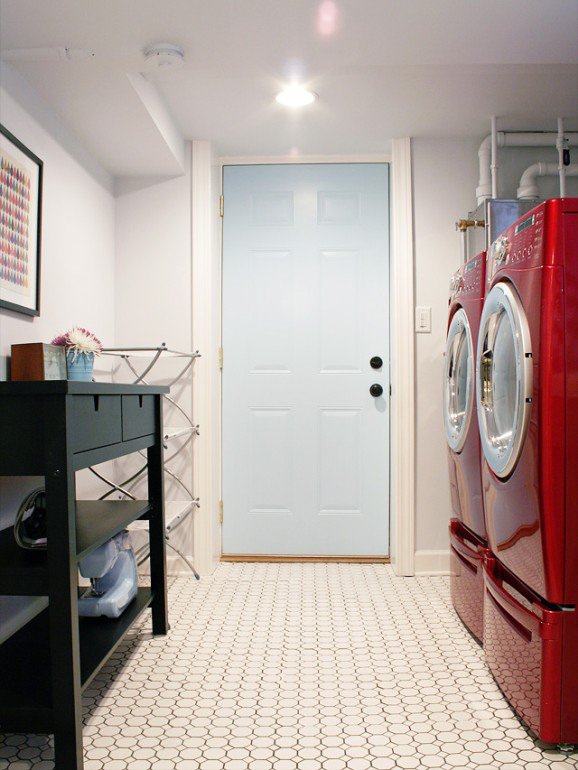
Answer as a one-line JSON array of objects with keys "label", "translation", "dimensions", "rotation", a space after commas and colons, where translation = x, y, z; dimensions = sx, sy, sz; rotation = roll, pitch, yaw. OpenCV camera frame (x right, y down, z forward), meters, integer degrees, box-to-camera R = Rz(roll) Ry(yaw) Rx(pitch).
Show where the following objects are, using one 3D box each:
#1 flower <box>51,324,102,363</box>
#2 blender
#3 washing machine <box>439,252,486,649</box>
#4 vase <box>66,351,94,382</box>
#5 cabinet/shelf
[{"label": "flower", "translation": [-0.659, -0.126, 1.857], "dimensions": [0.117, 0.056, 0.123], "rotation": [11, 8, 10]}, {"label": "blender", "translation": [-0.547, 0.602, 1.865], "dimensions": [0.157, 0.276, 0.262], "rotation": [3, 5, 1]}, {"label": "washing machine", "translation": [0.594, 0.220, 2.039], "dimensions": [0.244, 1.032, 0.392], "rotation": [1, 5, 11]}, {"label": "vase", "translation": [-0.632, -0.057, 1.812], "dimensions": [0.078, 0.112, 0.090], "rotation": [0, -1, -5]}, {"label": "cabinet/shelf", "translation": [-0.609, 0.296, 2.714], "dimensions": [0.273, 1.081, 0.409], "rotation": [2, 5, 1]}]
